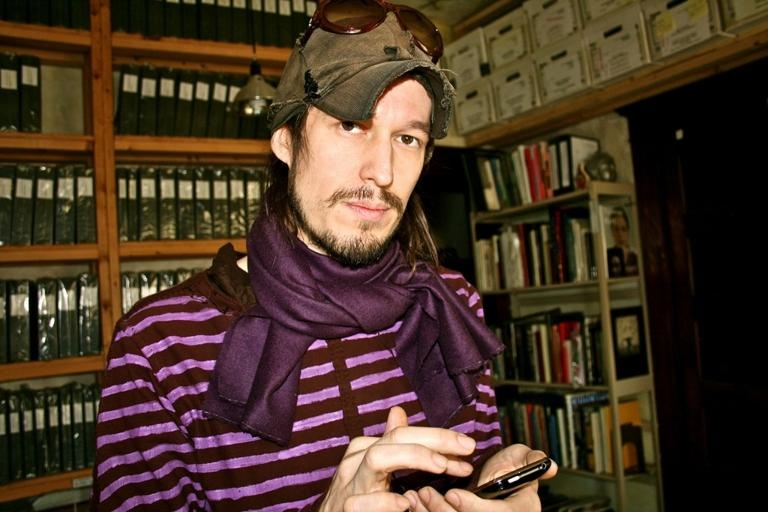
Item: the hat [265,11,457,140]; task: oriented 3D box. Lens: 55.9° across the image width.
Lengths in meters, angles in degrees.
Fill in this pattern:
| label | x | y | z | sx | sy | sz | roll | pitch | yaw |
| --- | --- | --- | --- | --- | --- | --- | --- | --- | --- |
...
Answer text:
| label | x | y | z | sx | sy | sz | roll | pitch | yaw |
| --- | --- | --- | --- | --- | --- | --- | --- | --- | --- |
| hat | -0.095 | -0.738 | 3.028 | 0.725 | 0.535 | 0.953 | -2 | 4 | -27 |
